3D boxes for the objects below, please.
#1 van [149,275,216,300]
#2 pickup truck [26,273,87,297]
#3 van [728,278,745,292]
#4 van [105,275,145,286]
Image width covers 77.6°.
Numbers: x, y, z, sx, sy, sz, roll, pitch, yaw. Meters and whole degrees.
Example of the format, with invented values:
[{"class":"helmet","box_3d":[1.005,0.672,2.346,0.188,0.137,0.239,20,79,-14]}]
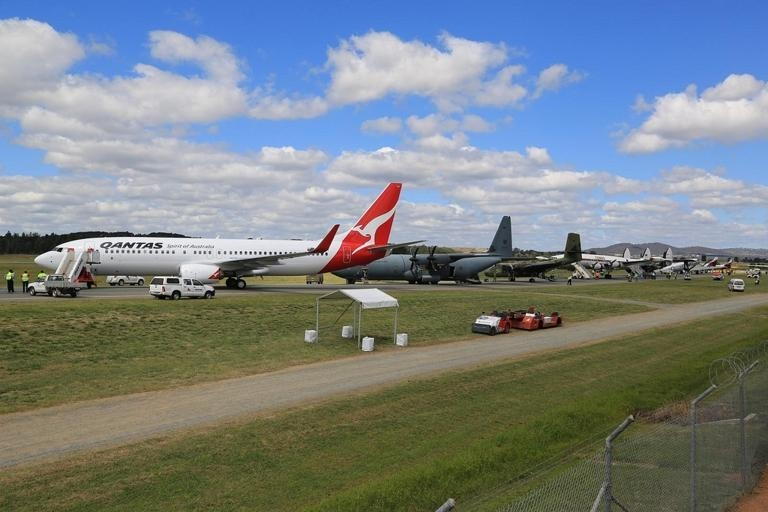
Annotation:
[{"class":"van","box_3d":[-18.600,2.871,43.455,4.936,1.180,2.464,-2,3,-34]},{"class":"pickup truck","box_3d":[-30.664,2.700,43.520,5.957,1.260,2.396,3,2,25]},{"class":"van","box_3d":[58.335,4.779,78.451,2.756,1.360,3.699,0,7,19]},{"class":"van","box_3d":[-32.731,3.078,60.097,6.412,1.325,2.494,-1,3,-16]}]
